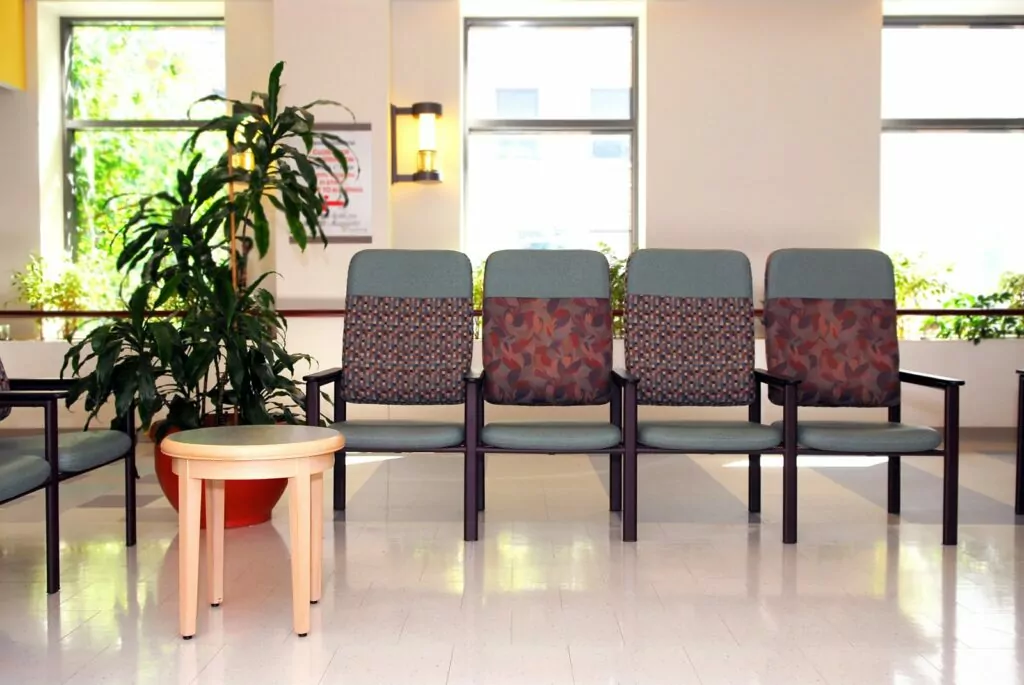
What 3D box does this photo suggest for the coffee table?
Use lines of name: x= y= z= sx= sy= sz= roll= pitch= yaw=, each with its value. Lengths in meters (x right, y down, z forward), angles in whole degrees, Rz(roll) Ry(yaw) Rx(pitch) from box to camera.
coffee table: x=-1.072 y=0.801 z=4.091 sx=0.804 sy=0.779 sz=0.849 roll=0 pitch=-6 yaw=-4

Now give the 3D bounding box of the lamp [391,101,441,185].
lamp: x=-0.657 y=-1.368 z=6.065 sx=0.336 sy=0.526 sz=0.184 roll=-2 pitch=13 yaw=-7
